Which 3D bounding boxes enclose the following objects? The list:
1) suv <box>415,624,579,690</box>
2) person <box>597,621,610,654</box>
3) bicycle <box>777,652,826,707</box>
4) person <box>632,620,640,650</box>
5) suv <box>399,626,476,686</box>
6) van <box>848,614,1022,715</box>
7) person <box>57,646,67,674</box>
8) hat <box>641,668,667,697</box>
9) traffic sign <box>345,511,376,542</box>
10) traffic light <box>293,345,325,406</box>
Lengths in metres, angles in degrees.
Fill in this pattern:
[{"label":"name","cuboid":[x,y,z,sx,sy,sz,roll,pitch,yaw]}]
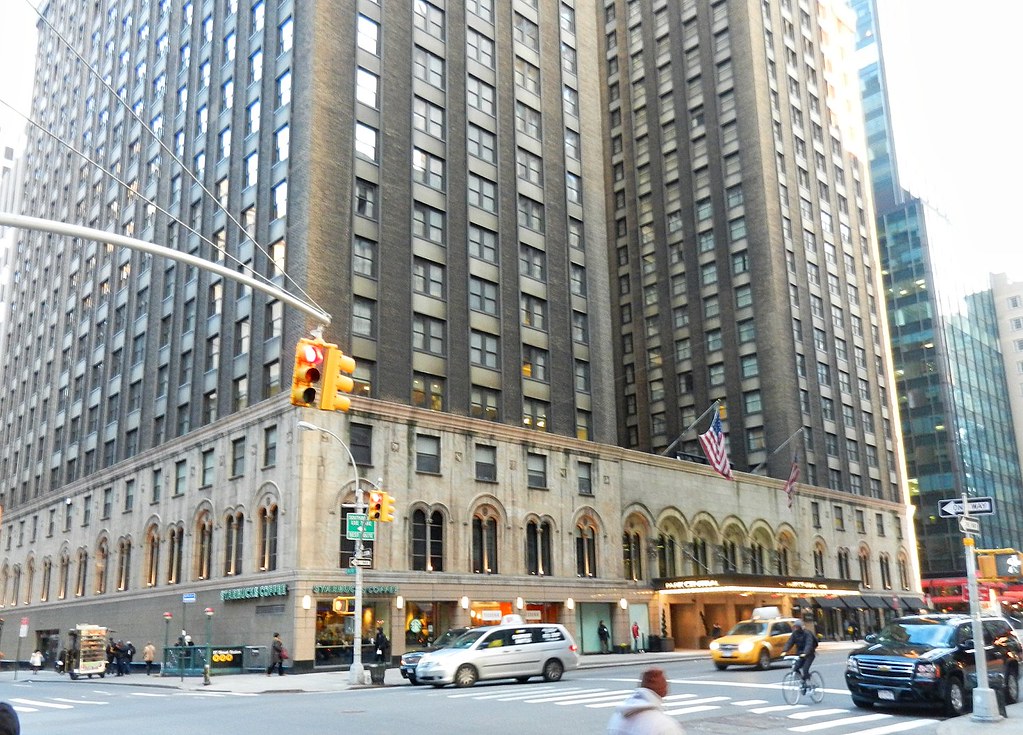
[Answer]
[{"label":"suv","cuboid":[-0.637,12.108,35.455,6.145,2.024,2.616,9,-23,-24]},{"label":"person","cuboid":[6.231,17.984,56.639,0.717,2.071,1.398,-6,-18,3]},{"label":"bicycle","cuboid":[9.956,10.264,28.167,0.806,1.143,1.844,-19,-18,-5]},{"label":"person","cuboid":[8.778,18.658,58.958,0.355,1.880,0.973,-17,-22,33]},{"label":"suv","cuboid":[-3.161,12.391,36.687,1.681,1.459,3.781,-21,-28,39]},{"label":"van","cuboid":[14.129,9.299,26.822,6.985,2.906,3.761,4,-20,-25]},{"label":"person","cuboid":[-28.552,18.585,53.616,0.489,1.423,1.877,5,-21,-28]},{"label":"hat","cuboid":[2.609,5.691,15.304,0.508,0.494,0.453,-3,5,8]},{"label":"traffic sign","cuboid":[-6.823,7.036,37.981,0.961,1.214,1.994,-4,-18,-3]},{"label":"traffic light","cuboid":[-4.850,0.022,20.101,0.709,1.710,0.641,0,-19,-15]}]
